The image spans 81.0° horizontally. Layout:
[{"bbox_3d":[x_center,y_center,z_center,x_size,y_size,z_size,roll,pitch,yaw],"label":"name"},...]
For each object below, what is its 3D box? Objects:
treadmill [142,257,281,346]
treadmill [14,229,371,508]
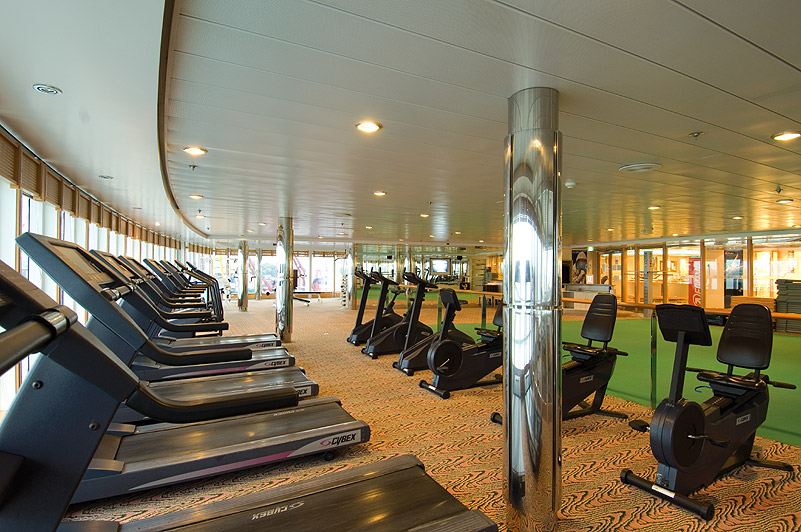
[{"bbox_3d":[-3.107,0.596,8.092,2.074,1.261,0.894,6,-2,-16],"label":"treadmill"},{"bbox_3d":[-1.579,1.034,3.864,2.578,1.520,2.540,-1,4,-28],"label":"treadmill"}]
